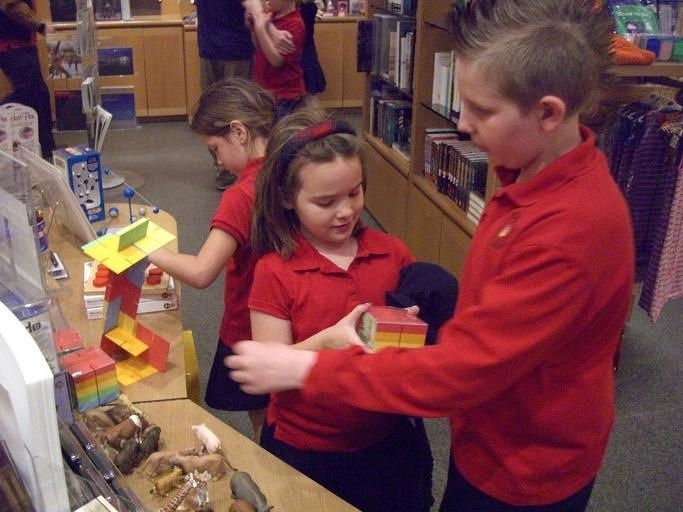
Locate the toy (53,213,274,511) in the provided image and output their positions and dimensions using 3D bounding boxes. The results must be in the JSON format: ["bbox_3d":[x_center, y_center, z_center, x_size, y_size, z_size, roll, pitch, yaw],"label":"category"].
[{"bbox_3d":[-0.739,0.196,1.763,0.688,0.619,1.240,6,6,-31],"label":"toy"}]

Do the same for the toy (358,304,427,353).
[{"bbox_3d":[0.132,0.166,1.311,0.110,0.071,0.113,3,15,-14],"label":"toy"}]
